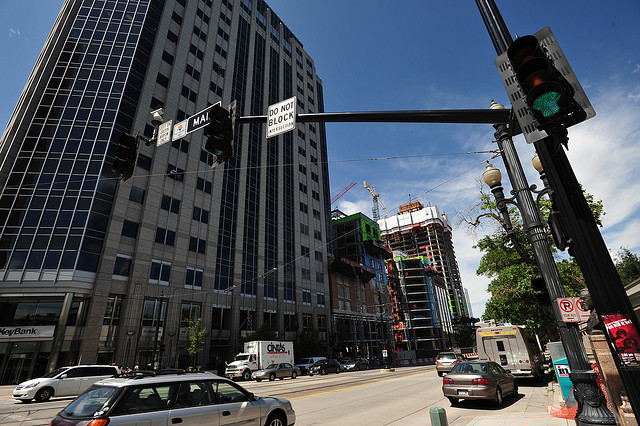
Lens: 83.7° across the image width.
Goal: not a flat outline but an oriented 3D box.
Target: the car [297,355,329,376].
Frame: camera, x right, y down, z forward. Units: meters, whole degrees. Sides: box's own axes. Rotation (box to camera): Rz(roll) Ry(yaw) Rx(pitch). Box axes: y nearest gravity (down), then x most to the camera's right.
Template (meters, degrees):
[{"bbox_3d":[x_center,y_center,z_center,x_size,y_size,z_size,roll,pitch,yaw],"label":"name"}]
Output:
[{"bbox_3d":[-1.439,17.636,41.588,3.686,1.781,2.014,29,-59,-37],"label":"car"}]

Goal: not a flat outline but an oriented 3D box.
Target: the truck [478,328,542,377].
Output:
[{"bbox_3d":[12.945,9.397,23.599,3.082,2.979,6.103,-18,-27,33],"label":"truck"}]

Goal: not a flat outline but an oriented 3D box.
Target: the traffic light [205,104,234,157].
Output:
[{"bbox_3d":[-3.119,-2.632,10.914,0.809,1.728,0.690,5,-16,-21],"label":"traffic light"}]

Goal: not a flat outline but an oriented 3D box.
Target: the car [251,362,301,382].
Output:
[{"bbox_3d":[-4.181,15.270,34.447,1.862,1.323,4.496,-24,-34,37],"label":"car"}]

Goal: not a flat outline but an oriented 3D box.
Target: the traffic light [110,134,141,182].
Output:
[{"bbox_3d":[-6.849,-2.020,12.513,0.693,1.865,0.714,8,-17,-30],"label":"traffic light"}]

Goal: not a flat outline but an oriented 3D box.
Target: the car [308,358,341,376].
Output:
[{"bbox_3d":[0.495,17.403,40.440,3.676,1.539,1.470,9,-18,-36],"label":"car"}]

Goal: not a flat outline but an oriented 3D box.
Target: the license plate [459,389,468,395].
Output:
[{"bbox_3d":[6.405,7.931,15.862,0.379,0.238,0.043,-13,-19,38],"label":"license plate"}]

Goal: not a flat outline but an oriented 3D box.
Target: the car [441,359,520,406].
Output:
[{"bbox_3d":[7.578,7.965,16.872,3.425,1.949,1.874,11,-19,-39],"label":"car"}]

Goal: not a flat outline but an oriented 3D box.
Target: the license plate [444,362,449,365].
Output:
[{"bbox_3d":[10.395,12.305,29.253,0.252,0.059,0.037,24,-49,16],"label":"license plate"}]

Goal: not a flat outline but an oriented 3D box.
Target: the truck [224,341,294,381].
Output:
[{"bbox_3d":[-6.070,14.920,36.433,3.087,3.471,6.915,-21,-27,37],"label":"truck"}]

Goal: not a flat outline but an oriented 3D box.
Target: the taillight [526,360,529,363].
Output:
[{"bbox_3d":[12.222,8.670,20.927,0.102,0.096,0.094,2,-18,-4],"label":"taillight"}]

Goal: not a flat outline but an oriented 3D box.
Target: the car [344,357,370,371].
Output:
[{"bbox_3d":[4.895,19.946,46.599,1.515,1.430,6.183,-8,-16,24],"label":"car"}]

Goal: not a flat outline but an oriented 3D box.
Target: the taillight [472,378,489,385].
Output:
[{"bbox_3d":[7.086,7.424,15.779,0.458,0.165,0.331,1,-12,1],"label":"taillight"}]

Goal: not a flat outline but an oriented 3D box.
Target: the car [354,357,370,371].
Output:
[{"bbox_3d":[5.538,20.202,48.043,1.703,1.345,2.843,-23,-39,34],"label":"car"}]

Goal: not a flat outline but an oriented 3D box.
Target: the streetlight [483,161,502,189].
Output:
[{"bbox_3d":[5.975,-1.379,12.356,0.506,1.056,0.529,-4,-15,12],"label":"streetlight"}]

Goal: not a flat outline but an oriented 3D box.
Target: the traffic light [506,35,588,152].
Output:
[{"bbox_3d":[5.287,-2.949,8.387,1.377,2.568,0.719,7,-16,-27],"label":"traffic light"}]
